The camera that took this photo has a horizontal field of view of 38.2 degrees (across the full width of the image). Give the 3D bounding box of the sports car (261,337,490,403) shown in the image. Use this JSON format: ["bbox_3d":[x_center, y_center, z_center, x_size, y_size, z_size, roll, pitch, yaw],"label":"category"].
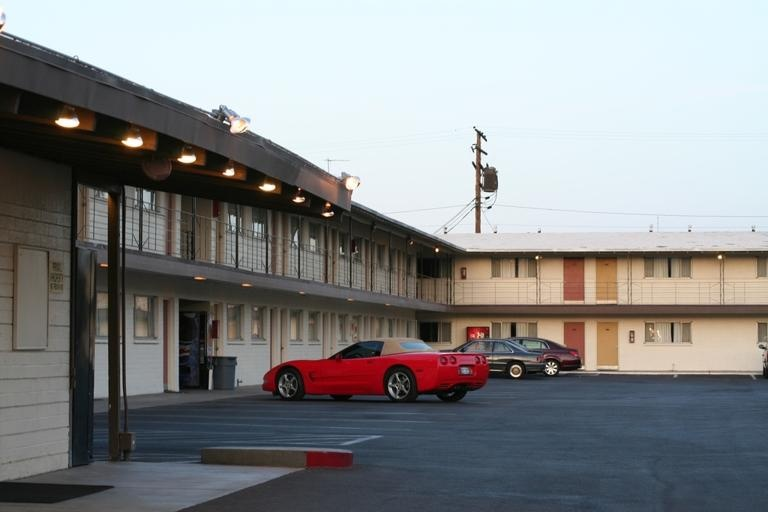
[{"bbox_3d":[-0.314,2.845,27.605,5.385,1.422,2.789,-4,-6,33],"label":"sports car"}]

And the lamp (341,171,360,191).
[{"bbox_3d":[-0.520,-1.165,16.912,0.251,0.273,0.486,-2,-11,1],"label":"lamp"}]
